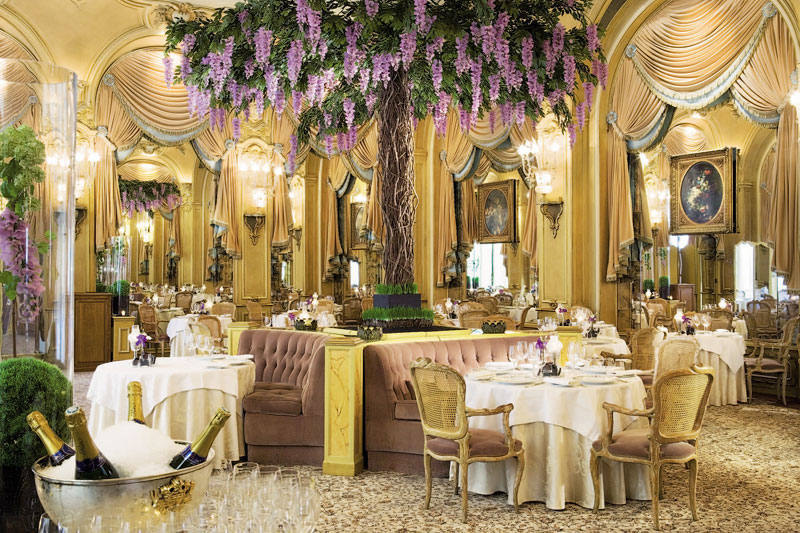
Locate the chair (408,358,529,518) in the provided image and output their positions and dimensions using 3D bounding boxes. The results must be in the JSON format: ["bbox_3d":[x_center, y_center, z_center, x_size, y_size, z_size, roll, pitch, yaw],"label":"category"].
[{"bbox_3d":[0.471,1.386,6.559,1.087,1.761,1.065,1,-1,-39],"label":"chair"}]

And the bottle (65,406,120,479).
[{"bbox_3d":[-1.347,0.776,3.181,0.208,0.348,0.198,0,9,0],"label":"bottle"}]

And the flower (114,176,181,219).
[{"bbox_3d":[-7.848,-2.203,23.103,1.705,0.913,1.868,-2,2,-2],"label":"flower"}]

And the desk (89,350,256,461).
[{"bbox_3d":[-2.113,1.230,6.879,1.358,0.932,1.506,0,-10,-1],"label":"desk"}]

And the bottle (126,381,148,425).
[{"bbox_3d":[-1.298,0.682,3.563,0.062,0.198,0.324,-3,10,-21],"label":"bottle"}]

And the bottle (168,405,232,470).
[{"bbox_3d":[-0.911,0.773,3.302,0.272,0.266,0.198,-2,9,-16],"label":"bottle"}]
